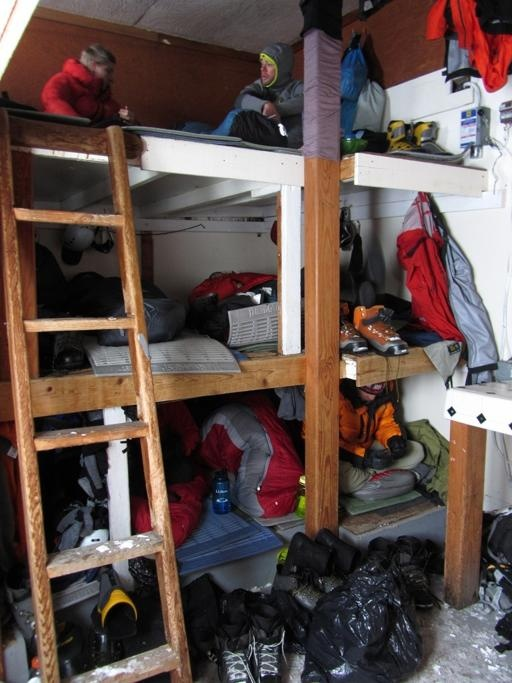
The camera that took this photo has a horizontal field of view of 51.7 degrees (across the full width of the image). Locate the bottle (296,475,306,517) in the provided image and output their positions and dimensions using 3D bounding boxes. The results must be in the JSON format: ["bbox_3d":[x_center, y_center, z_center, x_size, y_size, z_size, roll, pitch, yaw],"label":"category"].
[{"bbox_3d":[0.217,0.770,2.605,0.058,0.191,0.120,-6,9,6],"label":"bottle"}]

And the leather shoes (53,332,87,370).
[{"bbox_3d":[-0.654,0.039,1.864,0.074,0.090,0.216,-2,7,-21],"label":"leather shoes"}]

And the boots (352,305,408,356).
[{"bbox_3d":[0.560,-0.065,2.431,0.125,0.148,0.353,-15,36,-23],"label":"boots"}]

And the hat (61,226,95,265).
[{"bbox_3d":[-0.990,-0.546,2.917,0.188,0.076,0.288,11,-26,-11],"label":"hat"}]

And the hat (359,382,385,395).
[{"bbox_3d":[0.617,0.239,2.773,0.083,0.060,0.112,-3,4,-30],"label":"hat"}]

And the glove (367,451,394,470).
[{"bbox_3d":[0.633,0.613,2.720,0.124,0.087,0.122,13,-25,9],"label":"glove"}]
